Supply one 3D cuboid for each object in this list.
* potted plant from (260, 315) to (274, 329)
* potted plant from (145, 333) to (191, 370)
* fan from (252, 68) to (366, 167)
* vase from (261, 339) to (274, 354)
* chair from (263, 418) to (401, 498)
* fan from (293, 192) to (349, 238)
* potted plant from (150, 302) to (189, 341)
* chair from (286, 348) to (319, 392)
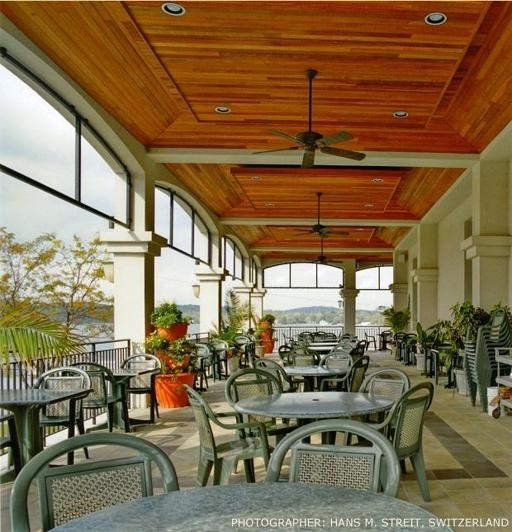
[{"bbox_3d":[0.446,2.290,20.194,0.590,0.454,0.519,6,-6,12],"label":"potted plant"},{"bbox_3d":[-1.295,1.303,7.288,0.677,0.358,0.587,4,-15,3],"label":"potted plant"},{"bbox_3d":[0.585,-1.690,5.372,1.310,0.776,1.234,4,3,11],"label":"fan"},{"bbox_3d":[0.444,3.094,18.530,0.698,0.387,0.597,-1,-17,3],"label":"vase"},{"bbox_3d":[0.320,0.718,1.864,0.434,0.418,0.365,-4,-9,18],"label":"chair"},{"bbox_3d":[1.389,-1.107,10.557,1.218,0.805,1.109,-1,-2,19],"label":"fan"},{"bbox_3d":[-1.193,0.878,7.622,0.637,0.561,0.653,-7,-15,38],"label":"potted plant"},{"bbox_3d":[0.686,1.436,6.991,0.524,0.510,0.439,1,3,12],"label":"chair"}]
